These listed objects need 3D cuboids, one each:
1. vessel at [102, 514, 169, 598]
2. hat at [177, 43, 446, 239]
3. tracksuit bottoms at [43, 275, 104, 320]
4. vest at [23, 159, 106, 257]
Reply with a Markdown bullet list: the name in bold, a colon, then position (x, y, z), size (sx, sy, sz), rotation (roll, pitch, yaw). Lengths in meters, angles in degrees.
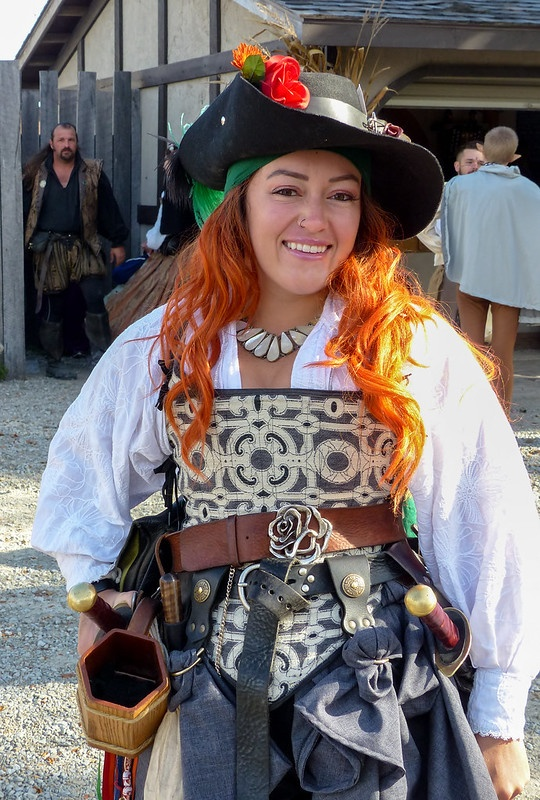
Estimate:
- **vessel**: position (-0.205, 0.245, 1.243), size (0.054, 0.109, 0.094), rotation (16, -10, -20)
- **hat**: position (0.071, -0.372, 1.231), size (0.371, 0.141, 0.291), rotation (2, 39, -4)
- **tracksuit bottoms**: position (-1.654, -0.854, 6.658), size (0.422, 0.467, 0.177), rotation (1, 27, 17)
- **vest**: position (-1.661, -1.519, 6.361), size (0.703, 0.696, 0.425), rotation (2, 10, -7)
